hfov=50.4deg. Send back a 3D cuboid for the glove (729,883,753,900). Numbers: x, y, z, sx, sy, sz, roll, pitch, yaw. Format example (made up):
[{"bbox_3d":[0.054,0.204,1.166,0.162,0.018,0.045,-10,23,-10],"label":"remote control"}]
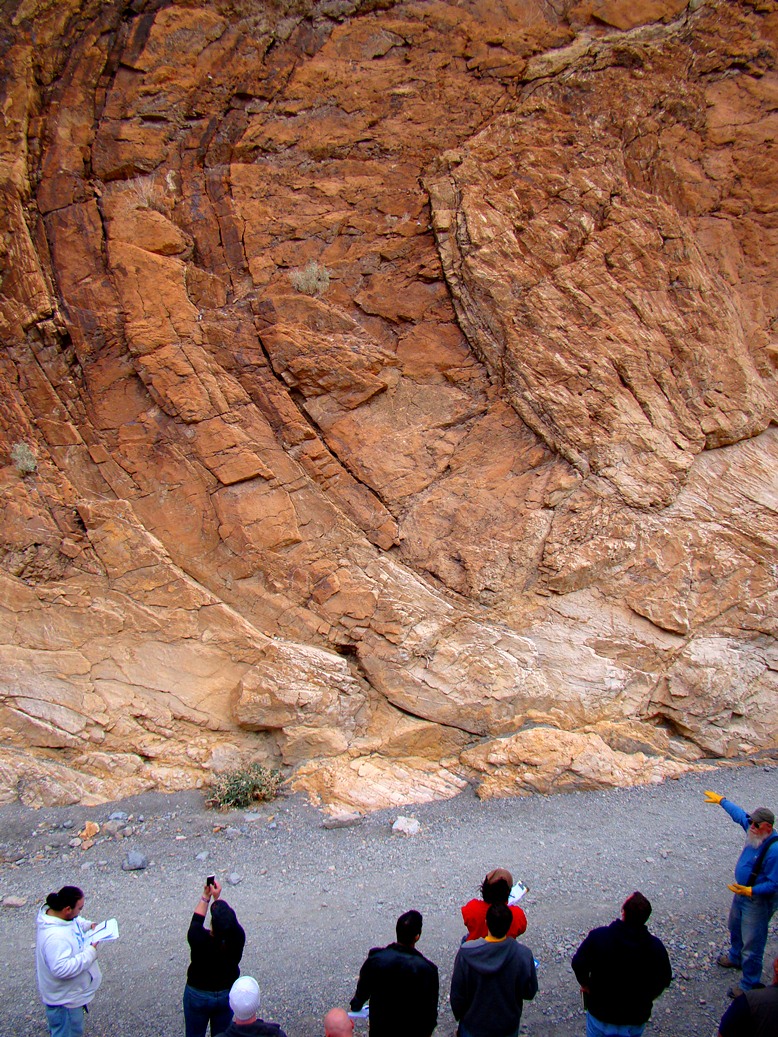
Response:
[{"bbox_3d":[2.153,2.312,5.084,0.069,0.049,0.167,5,-13,-1],"label":"glove"}]

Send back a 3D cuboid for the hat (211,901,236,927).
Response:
[{"bbox_3d":[-0.919,2.182,4.543,0.120,0.132,0.167,-7,12,-15],"label":"hat"}]
